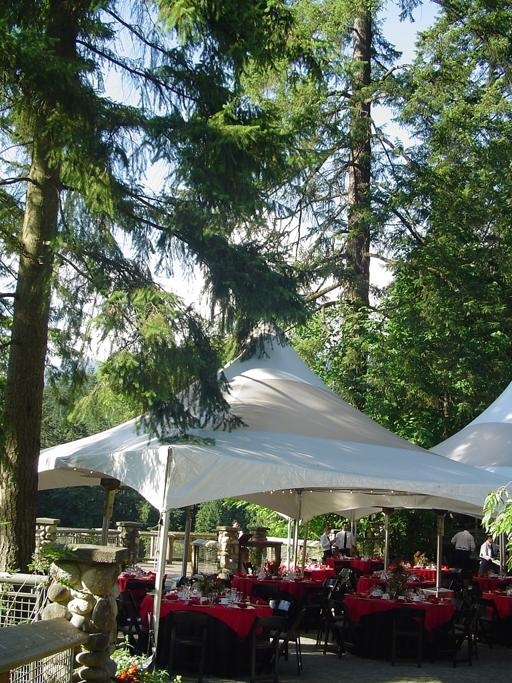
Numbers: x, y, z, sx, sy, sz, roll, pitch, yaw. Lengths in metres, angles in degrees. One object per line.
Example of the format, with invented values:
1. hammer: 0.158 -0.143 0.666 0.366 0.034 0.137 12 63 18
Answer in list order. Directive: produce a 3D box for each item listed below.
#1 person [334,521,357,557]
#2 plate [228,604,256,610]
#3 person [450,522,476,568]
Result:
1. person: 2.331 5.188 17.458 0.479 0.815 0.759 0 -15 10
2. plate: -0.158 3.098 7.808 0.351 0.036 0.325 9 -16 -22
3. person: 5.017 5.003 16.130 0.505 0.877 2.159 -2 -16 16
